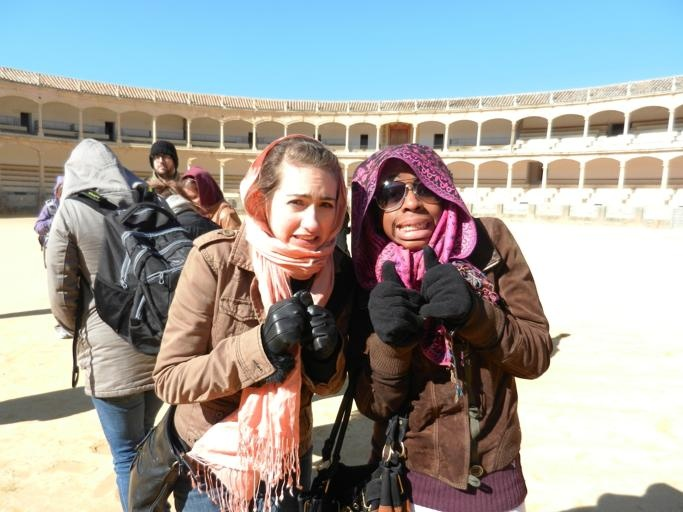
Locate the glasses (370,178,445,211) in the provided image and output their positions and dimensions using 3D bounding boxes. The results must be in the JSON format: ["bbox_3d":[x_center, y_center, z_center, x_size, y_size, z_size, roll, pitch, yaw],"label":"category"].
[{"bbox_3d":[0.356,-0.371,3.618,0.256,0.093,0.234,1,-23,0],"label":"glasses"}]

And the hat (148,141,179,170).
[{"bbox_3d":[-1.858,-1.077,6.277,0.287,0.238,0.334,-1,-14,-5],"label":"hat"}]

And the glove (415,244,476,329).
[{"bbox_3d":[0.496,0.188,3.401,0.316,0.442,0.180,-33,-28,-22],"label":"glove"}]

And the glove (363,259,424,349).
[{"bbox_3d":[0.278,0.290,3.363,0.309,0.362,0.178,2,-23,-14],"label":"glove"}]

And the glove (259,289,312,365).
[{"bbox_3d":[-0.307,0.406,3.349,0.273,0.421,0.133,0,12,-5],"label":"glove"}]
